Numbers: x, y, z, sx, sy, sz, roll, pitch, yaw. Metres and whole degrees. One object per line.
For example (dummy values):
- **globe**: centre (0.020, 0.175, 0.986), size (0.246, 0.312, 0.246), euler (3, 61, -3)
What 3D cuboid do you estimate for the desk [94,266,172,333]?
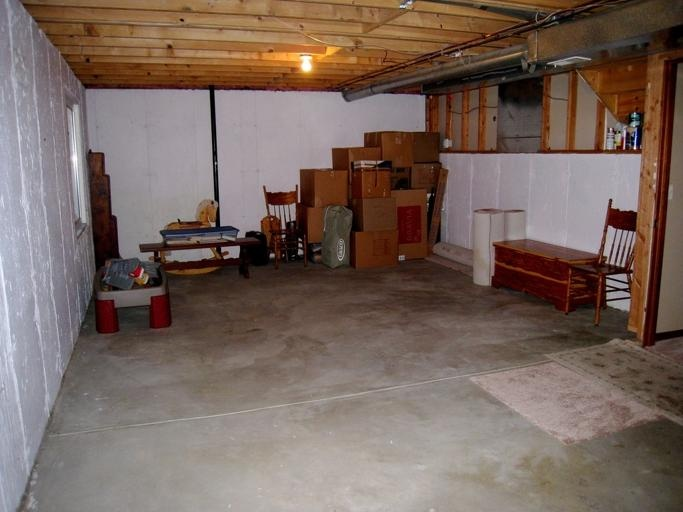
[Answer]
- **desk**: centre (-2.335, 0.445, 5.704), size (0.620, 0.392, 0.620), euler (-6, 16, -31)

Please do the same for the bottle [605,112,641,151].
- **bottle**: centre (3.180, -1.402, 5.879), size (0.170, 0.405, 0.461), euler (-3, 10, -15)

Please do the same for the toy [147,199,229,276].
- **toy**: centre (-2.472, -0.346, 8.473), size (0.947, 1.248, 1.374), euler (3, 5, 0)

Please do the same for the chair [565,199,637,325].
- **chair**: centre (2.955, 0.038, 5.716), size (0.626, 1.278, 0.947), euler (9, 15, 44)

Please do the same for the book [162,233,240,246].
- **book**: centre (-1.941, -0.236, 7.162), size (0.936, 0.137, 0.205), euler (-5, 11, -17)

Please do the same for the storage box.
- **storage box**: centre (0.517, -0.833, 8.457), size (1.935, 1.891, 1.058), euler (-6, 19, -18)
